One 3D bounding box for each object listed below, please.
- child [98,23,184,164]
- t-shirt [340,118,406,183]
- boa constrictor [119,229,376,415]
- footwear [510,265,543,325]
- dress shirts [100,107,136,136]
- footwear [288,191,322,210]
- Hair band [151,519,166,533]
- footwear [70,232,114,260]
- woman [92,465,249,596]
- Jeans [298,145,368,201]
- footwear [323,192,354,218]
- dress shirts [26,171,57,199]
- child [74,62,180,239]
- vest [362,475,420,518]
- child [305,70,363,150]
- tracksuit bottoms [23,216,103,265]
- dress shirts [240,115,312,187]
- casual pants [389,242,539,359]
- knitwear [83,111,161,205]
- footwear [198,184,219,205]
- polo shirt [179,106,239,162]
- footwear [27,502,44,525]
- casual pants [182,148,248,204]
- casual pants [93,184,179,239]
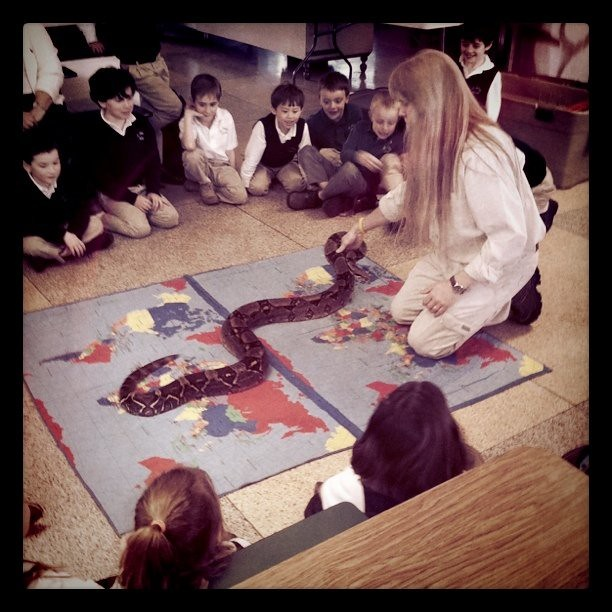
[{"bbox_3d":[-0.869,-1.019,2.767,0.248,0.857,0.289,-7,8,45],"label":"child"},{"bbox_3d":[0.425,-1.056,3.634,0.344,0.402,0.128,8,-11,-8],"label":"t-shirt"},{"bbox_3d":[-0.197,0.057,2.574,1.403,0.147,0.446,-27,50,-36],"label":"boa constrictor"},{"bbox_3d":[1.099,-0.041,2.750,0.152,0.229,0.101,-13,27,-36],"label":"footwear"},{"bbox_3d":[-1.140,-1.129,3.366,0.160,0.058,0.118,40,48,24],"label":"dress shirts"},{"bbox_3d":[-0.008,-0.713,3.701,0.300,0.117,0.095,-10,25,-13],"label":"footwear"},{"bbox_3d":[-0.403,0.607,1.515,0.040,0.012,0.047,-1,28,-7],"label":"Hair band"},{"bbox_3d":[-1.221,-0.366,3.175,0.188,0.058,0.143,-33,16,-22],"label":"footwear"},{"bbox_3d":[-0.424,0.660,1.815,0.461,0.296,0.590,8,-4,-7],"label":"woman"},{"bbox_3d":[0.201,-0.897,3.735,0.239,0.208,0.391,-8,31,-45],"label":"Jeans"},{"bbox_3d":[0.227,-0.676,3.716,0.215,0.075,0.123,-20,60,-45],"label":"footwear"},{"bbox_3d":[-1.407,-0.656,2.980,0.094,0.124,0.040,-5,59,-2],"label":"dress shirts"},{"bbox_3d":[-1.125,-0.963,3.426,0.649,1.044,0.525,45,58,12],"label":"child"},{"bbox_3d":[0.255,0.666,1.849,0.154,0.056,0.097,10,29,13],"label":"vest"},{"bbox_3d":[0.207,-1.260,3.651,0.410,0.550,0.319,-2,42,1],"label":"child"},{"bbox_3d":[-1.353,-0.354,3.047,0.390,0.097,0.293,-27,17,-28],"label":"tracksuit bottoms"},{"bbox_3d":[-0.196,-1.085,3.845,0.484,0.548,0.175,-2,3,-8],"label":"dress shirts"},{"bbox_3d":[0.818,0.054,2.799,0.715,0.237,0.435,-31,47,3],"label":"casual pants"},{"bbox_3d":[-1.175,-0.926,3.473,0.453,0.544,0.331,-25,55,-30],"label":"knitwear"},{"bbox_3d":[-0.623,-0.728,3.572,0.098,0.104,0.184,-7,30,-18],"label":"footwear"},{"bbox_3d":[-0.620,-1.154,3.849,0.481,0.481,0.257,-7,54,-12],"label":"polo shirt"},{"bbox_3d":[-0.895,0.693,1.833,0.048,0.016,0.061,11,51,-40],"label":"footwear"},{"bbox_3d":[-0.593,-0.914,3.647,0.312,0.230,0.497,-6,37,-14],"label":"casual pants"},{"bbox_3d":[-1.036,-0.554,3.409,0.329,0.154,0.442,-28,41,-35],"label":"casual pants"}]
